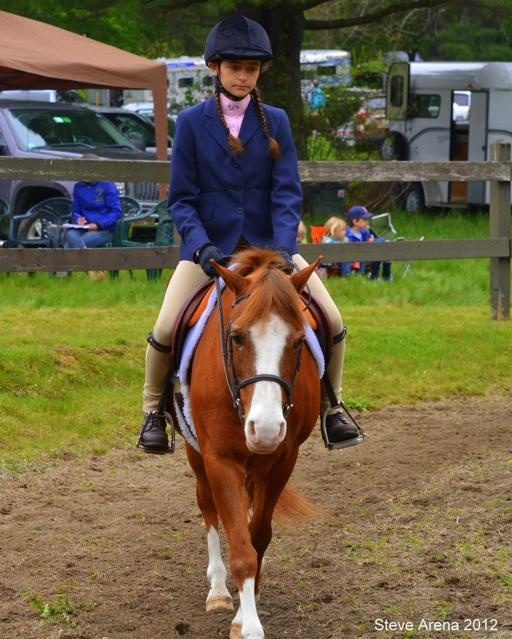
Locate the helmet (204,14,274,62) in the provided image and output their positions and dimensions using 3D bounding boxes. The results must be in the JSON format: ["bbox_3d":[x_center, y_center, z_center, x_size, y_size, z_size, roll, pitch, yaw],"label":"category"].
[{"bbox_3d":[-0.110,-1.521,6.103,0.366,0.238,0.443,-4,13,-27],"label":"helmet"}]

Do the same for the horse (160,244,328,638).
[{"bbox_3d":[0.003,0.626,5.727,0.718,1.954,1.321,0,4,-14],"label":"horse"}]

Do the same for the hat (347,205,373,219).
[{"bbox_3d":[1.227,-1.328,14.034,0.255,0.144,0.169,-1,13,14],"label":"hat"}]

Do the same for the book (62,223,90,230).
[{"bbox_3d":[-2.010,-1.028,12.574,0.308,0.062,0.176,1,5,-2],"label":"book"}]

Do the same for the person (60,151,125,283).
[{"bbox_3d":[-1.902,-1.205,12.712,0.571,1.301,0.732,6,17,22],"label":"person"}]

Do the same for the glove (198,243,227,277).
[{"bbox_3d":[-0.247,-0.323,5.835,0.115,0.131,0.168,36,-18,22],"label":"glove"}]

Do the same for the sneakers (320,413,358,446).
[{"bbox_3d":[0.453,0.638,6.571,0.111,0.134,0.295,-8,-10,-7],"label":"sneakers"}]
